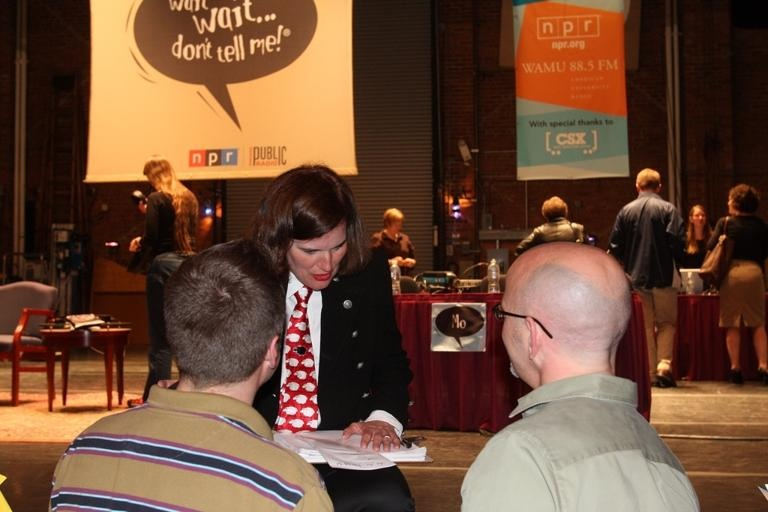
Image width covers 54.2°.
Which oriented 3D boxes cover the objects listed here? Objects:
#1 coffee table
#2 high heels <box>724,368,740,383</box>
[{"bbox_3d":[-3.038,1.119,7.733,0.831,0.931,0.926,-2,-9,3],"label":"coffee table"},{"bbox_3d":[3.954,1.353,8.495,0.153,0.209,0.117,0,19,18],"label":"high heels"}]
